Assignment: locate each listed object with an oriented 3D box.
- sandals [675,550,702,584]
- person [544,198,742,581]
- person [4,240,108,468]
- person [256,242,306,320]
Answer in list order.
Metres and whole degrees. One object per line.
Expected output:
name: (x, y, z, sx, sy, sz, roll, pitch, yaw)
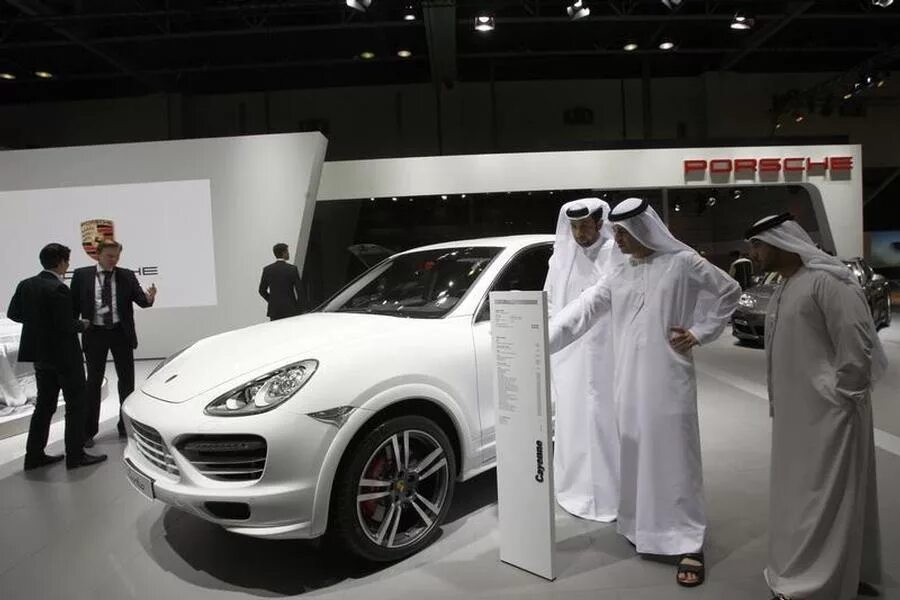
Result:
sandals: (1.882, 2.103, 5.131, 0.135, 0.102, 0.259, -6, 1, 16)
person: (1.657, 0.667, 5.347, 1.240, 3.003, 0.576, 2, 7, 30)
person: (-4.036, 0.566, 6.687, 0.789, 2.291, 0.413, 0, 6, 9)
person: (-2.343, 0.049, 9.093, 0.525, 1.679, 0.524, -2, 0, 4)
